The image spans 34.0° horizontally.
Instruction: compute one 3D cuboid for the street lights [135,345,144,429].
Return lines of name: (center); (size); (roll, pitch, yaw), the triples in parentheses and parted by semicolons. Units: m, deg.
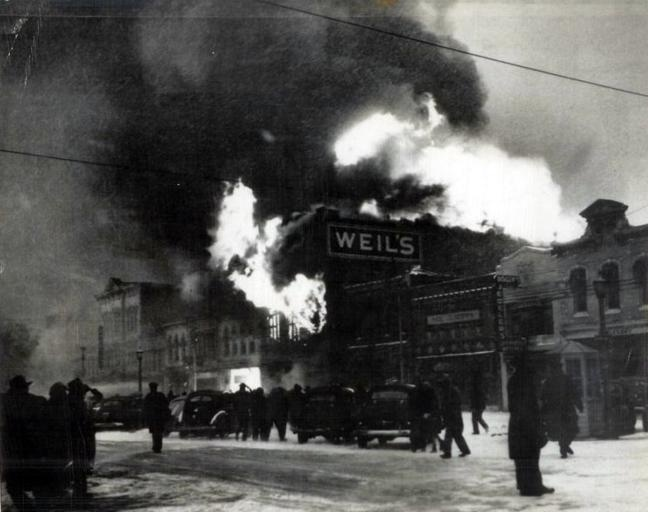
street lights: (-1.561, 0.990, 8.959); (0.061, 0.372, 0.049); (-11, -14, 40)
